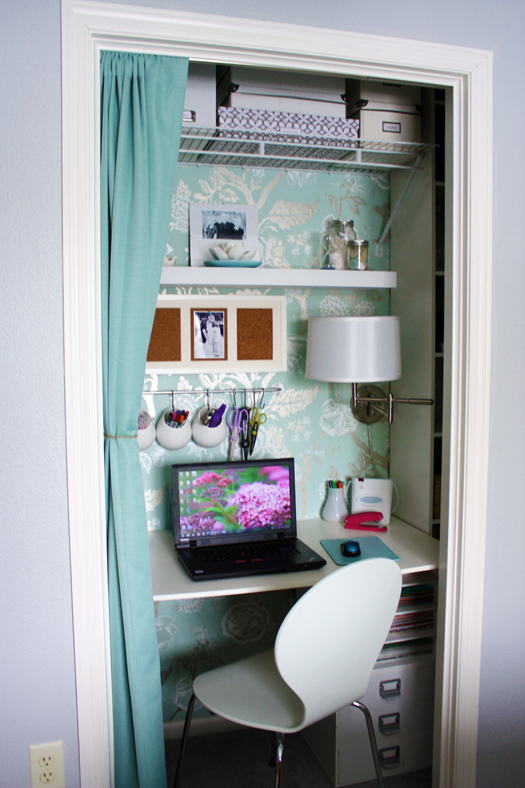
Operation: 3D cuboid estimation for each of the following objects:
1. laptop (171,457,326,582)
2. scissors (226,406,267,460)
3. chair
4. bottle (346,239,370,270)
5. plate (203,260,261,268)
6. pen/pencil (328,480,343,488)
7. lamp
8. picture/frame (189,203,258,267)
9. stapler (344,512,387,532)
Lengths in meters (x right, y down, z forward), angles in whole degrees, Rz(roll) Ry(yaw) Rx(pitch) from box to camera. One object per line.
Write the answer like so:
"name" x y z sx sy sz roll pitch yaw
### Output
"laptop" -0.047 0.352 1.849 0.386 0.275 0.292 -2 1 -17
"scissors" -0.065 0.133 2.111 0.108 0.171 0.042 -1 7 -5
"chair" 0.056 0.556 1.536 0.468 0.412 0.316 7 11 42
"bottle" 0.310 -0.448 2.080 0.083 0.098 0.088 1 4 16
"plate" -0.089 -0.387 1.926 0.163 0.022 0.054 -2 8 -9
"pen/pencil" 0.261 0.310 2.212 0.028 0.022 0.028 0 -1 -39
"lamp" 0.313 -0.058 2.049 0.379 0.378 0.395 -2 8 -15
"picture/frame" -0.132 -0.496 2.006 0.211 0.235 0.009 0 -10 -28
"stapler" 0.341 0.427 2.120 0.171 0.077 0.054 1 13 9
